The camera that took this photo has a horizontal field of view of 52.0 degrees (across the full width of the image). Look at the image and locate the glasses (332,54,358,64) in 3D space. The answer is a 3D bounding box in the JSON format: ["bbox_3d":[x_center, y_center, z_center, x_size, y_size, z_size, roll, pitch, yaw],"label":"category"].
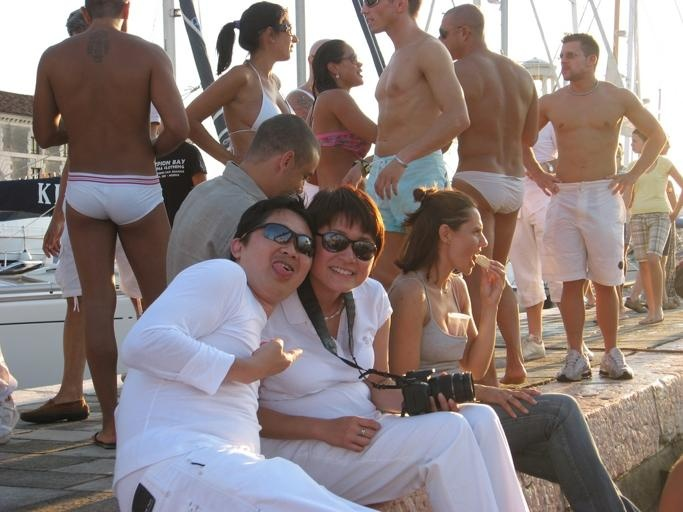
[{"bbox_3d":[0.033,-1.405,5.007,0.119,0.043,0.125,-11,11,0],"label":"glasses"}]

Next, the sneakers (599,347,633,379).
[{"bbox_3d":[1.922,0.757,4.937,0.107,0.161,0.327,-2,-6,-3],"label":"sneakers"}]

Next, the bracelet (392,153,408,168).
[{"bbox_3d":[0.332,-0.538,3.988,0.071,0.065,0.060,-4,0,6],"label":"bracelet"}]

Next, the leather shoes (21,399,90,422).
[{"bbox_3d":[-1.800,0.985,4.446,0.396,0.175,0.162,3,-4,-14],"label":"leather shoes"}]

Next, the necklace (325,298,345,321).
[{"bbox_3d":[-0.029,0.238,2.994,0.077,0.021,0.085,-32,10,29],"label":"necklace"}]

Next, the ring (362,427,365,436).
[{"bbox_3d":[0.084,0.706,2.839,0.020,0.033,0.010,1,-8,1],"label":"ring"}]

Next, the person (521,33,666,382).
[{"bbox_3d":[1.914,-0.409,5.350,0.919,2.653,0.775,-1,-4,24],"label":"person"}]

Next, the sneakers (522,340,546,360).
[{"bbox_3d":[1.617,0.794,5.987,0.285,0.145,0.103,5,-6,-42],"label":"sneakers"}]
